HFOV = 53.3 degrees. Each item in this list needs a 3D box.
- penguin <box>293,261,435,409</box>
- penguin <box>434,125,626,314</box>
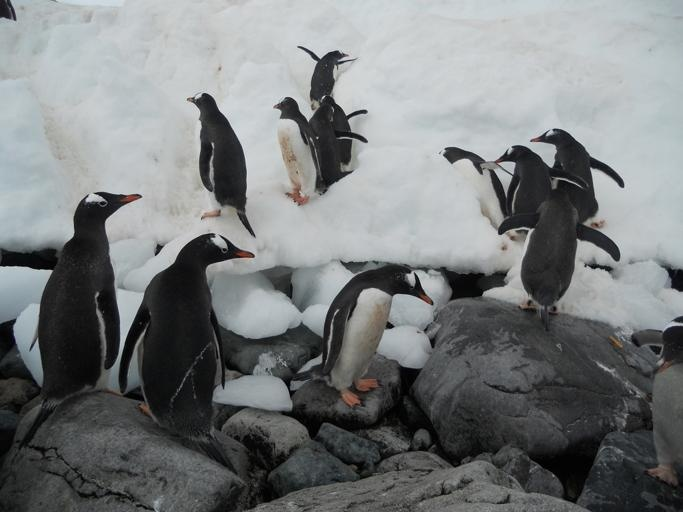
[{"bbox_3d":[0.159,0.353,4.328,0.629,0.934,0.740,4,13,25],"label":"penguin"},{"bbox_3d":[1.284,-0.357,4.768,1.024,1.420,0.916,4,20,23],"label":"penguin"}]
